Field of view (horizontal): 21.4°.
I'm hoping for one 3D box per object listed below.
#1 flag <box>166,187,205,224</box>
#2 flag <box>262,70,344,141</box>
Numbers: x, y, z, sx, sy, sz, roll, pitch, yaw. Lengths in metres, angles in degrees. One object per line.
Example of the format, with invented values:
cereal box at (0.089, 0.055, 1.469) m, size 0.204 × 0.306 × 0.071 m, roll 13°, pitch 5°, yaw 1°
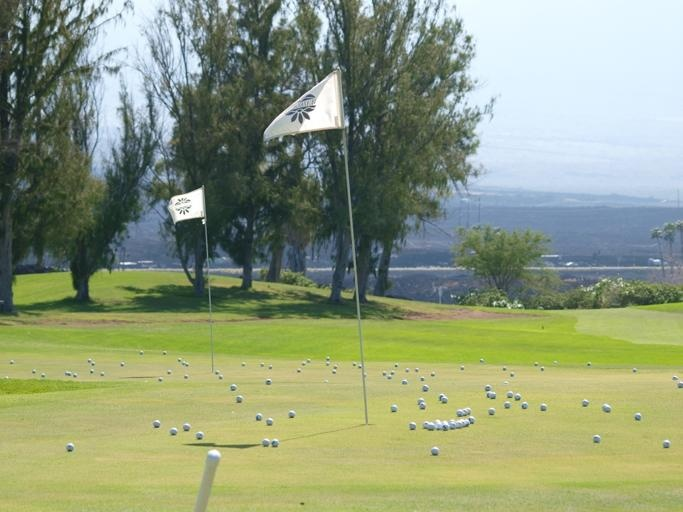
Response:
flag at (-10.143, -3.272, 117.949) m, size 2.545 × 2.609 × 0.450 m, roll -6°, pitch -5°, yaw 32°
flag at (-1.795, -8.669, 101.671) m, size 3.783 × 3.749 × 1.025 m, roll 1°, pitch 14°, yaw 0°
